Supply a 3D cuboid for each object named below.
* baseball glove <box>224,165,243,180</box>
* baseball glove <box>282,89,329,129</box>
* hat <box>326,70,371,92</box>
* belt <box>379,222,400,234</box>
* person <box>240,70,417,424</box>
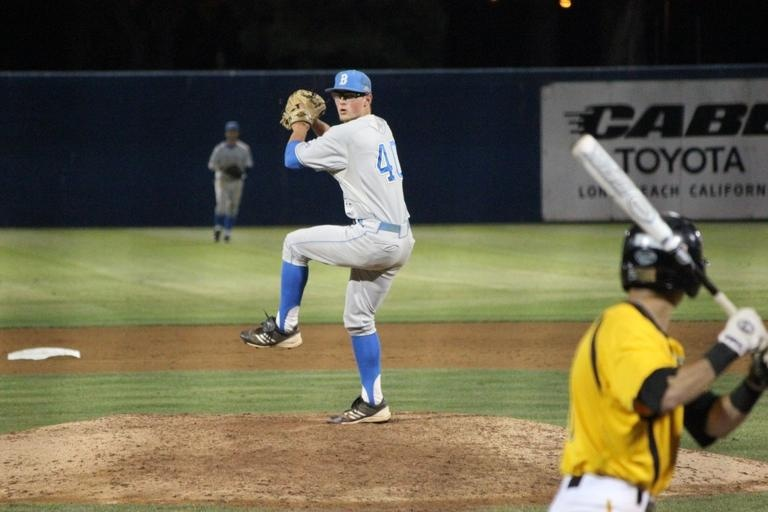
[{"bbox_3d":[-2.370,-1.371,19.730,0.250,0.172,0.442,3,13,-9],"label":"baseball glove"},{"bbox_3d":[-0.874,-1.620,13.743,0.492,0.373,0.229,-38,-2,-11],"label":"baseball glove"},{"bbox_3d":[-0.359,-1.916,13.542,0.381,0.188,0.275,3,2,-3],"label":"hat"},{"bbox_3d":[0.087,-0.320,13.332,0.231,0.110,0.045,0,8,-19],"label":"belt"},{"bbox_3d":[-0.431,-0.087,13.591,1.525,3.915,0.570,3,8,0],"label":"person"}]
